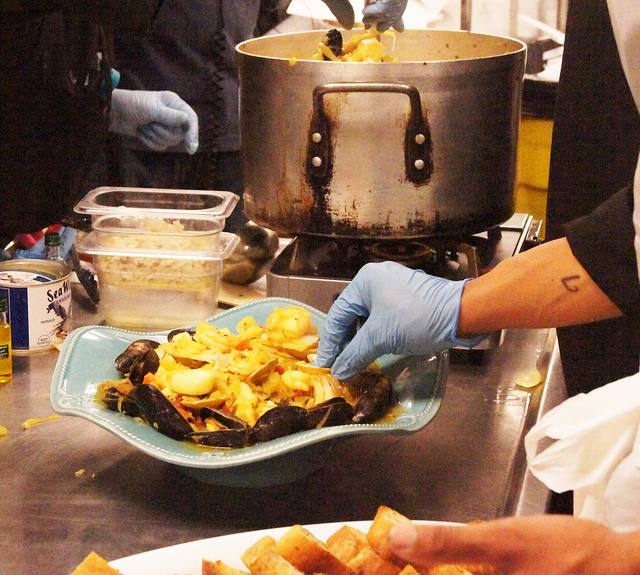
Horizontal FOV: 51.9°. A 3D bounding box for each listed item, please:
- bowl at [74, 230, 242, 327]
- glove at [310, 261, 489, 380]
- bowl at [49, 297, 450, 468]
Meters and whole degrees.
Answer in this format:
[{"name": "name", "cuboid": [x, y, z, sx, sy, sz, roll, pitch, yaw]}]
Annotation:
[{"name": "bowl", "cuboid": [-0.344, -0.008, 1.471, 0.345, 0.234, 0.439, 5, 9, -3]}, {"name": "glove", "cuboid": [0.141, 0.005, 1.108, 0.261, 0.192, 0.217, 7, 15, 26]}, {"name": "bowl", "cuboid": [-0.111, 0.127, 0.935, 0.553, 0.070, 0.397, 8, 16, 19]}]
